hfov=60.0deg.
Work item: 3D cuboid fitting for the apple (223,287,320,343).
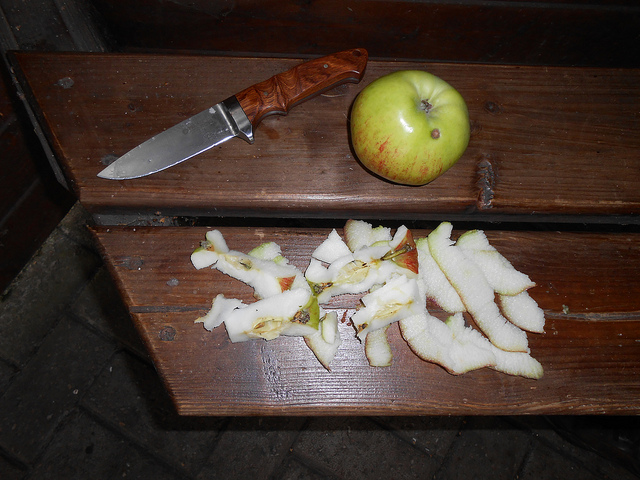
[{"bbox_3d":[-0.154,0.245,1.782,0.304,0.127,0.119,-3,55,-4],"label":"apple"}]

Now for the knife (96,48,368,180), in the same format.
[{"bbox_3d":[-0.305,-0.406,1.882,0.762,0.068,0.157,-31,85,-3],"label":"knife"}]

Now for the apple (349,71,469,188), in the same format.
[{"bbox_3d":[0.279,-0.341,1.857,0.340,0.331,0.342,-22,79,-17],"label":"apple"}]

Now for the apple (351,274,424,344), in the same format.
[{"bbox_3d":[0.220,0.210,1.828,0.227,0.076,0.154,-21,90,2],"label":"apple"}]
